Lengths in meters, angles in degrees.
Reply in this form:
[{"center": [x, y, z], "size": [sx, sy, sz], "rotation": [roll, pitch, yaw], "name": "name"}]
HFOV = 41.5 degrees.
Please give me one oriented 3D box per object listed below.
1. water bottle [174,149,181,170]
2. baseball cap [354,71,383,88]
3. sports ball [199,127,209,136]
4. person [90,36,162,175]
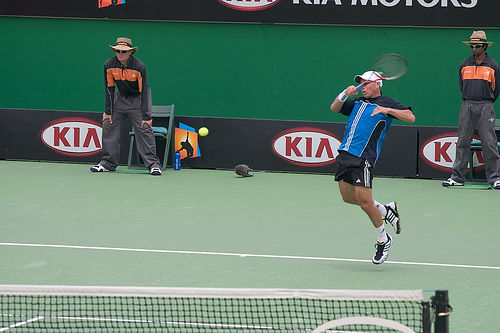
[{"center": [-1.678, -0.186, 15.457], "size": [0.155, 0.462, 0.324], "rotation": [-1, 5, -7], "name": "water bottle"}, {"center": [1.608, -1.194, 8.892], "size": [0.350, 0.206, 0.367], "rotation": [1, 5, 9], "name": "baseball cap"}, {"center": [-1.047, -0.825, 15.343], "size": [0.228, 0.197, 0.156], "rotation": [-1, 5, -5], "name": "sports ball"}, {"center": [-2.666, -1.283, 14.265], "size": [1.328, 2.886, 0.809], "rotation": [1, 5, 16], "name": "person"}]
